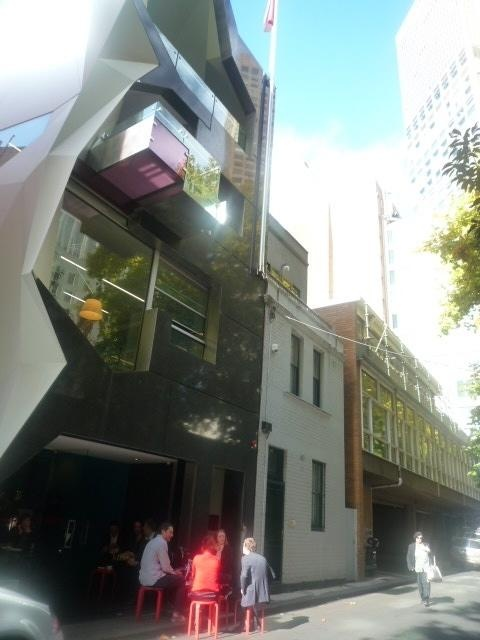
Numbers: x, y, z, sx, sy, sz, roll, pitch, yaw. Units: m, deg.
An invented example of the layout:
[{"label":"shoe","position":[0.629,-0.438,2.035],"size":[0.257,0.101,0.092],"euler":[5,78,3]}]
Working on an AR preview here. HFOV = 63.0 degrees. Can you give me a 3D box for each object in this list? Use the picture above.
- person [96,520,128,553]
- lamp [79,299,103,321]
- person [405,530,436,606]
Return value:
[{"label":"person","position":[-2.762,4.752,8.543],"size":[0.614,0.640,1.658],"euler":[11,-27,-15]},{"label":"lamp","position":[-2.656,-0.168,7.060],"size":[0.303,0.367,0.342],"euler":[-18,-38,22]},{"label":"person","position":[4.463,6.069,9.611],"size":[0.603,1.481,1.587],"euler":[-6,-26,21]}]
